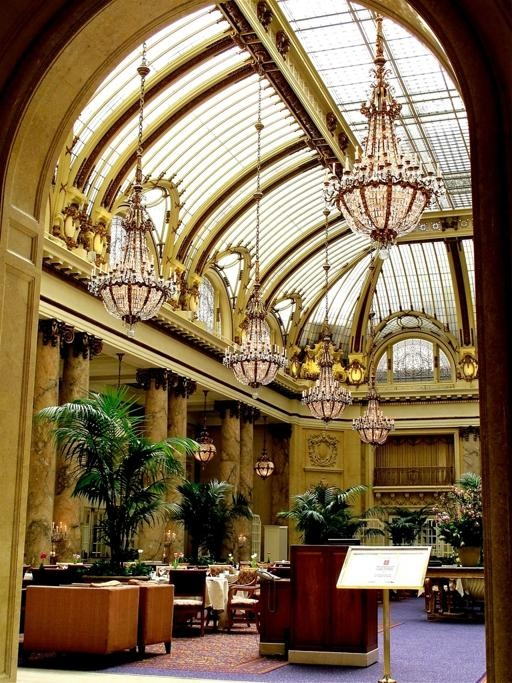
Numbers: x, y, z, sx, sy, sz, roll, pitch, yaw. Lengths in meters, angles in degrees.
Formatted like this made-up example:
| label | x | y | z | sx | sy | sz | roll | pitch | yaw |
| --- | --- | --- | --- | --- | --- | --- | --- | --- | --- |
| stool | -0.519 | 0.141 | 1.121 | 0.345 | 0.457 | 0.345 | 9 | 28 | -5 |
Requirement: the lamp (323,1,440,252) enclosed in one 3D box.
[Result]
| label | x | y | z | sx | sy | sz | roll | pitch | yaw |
| --- | --- | --- | --- | --- | --- | --- | --- | --- | --- |
| lamp | 1.311 | -2.252 | 7.828 | 1.216 | 3.047 | 0.622 | -4 | -16 | 14 |

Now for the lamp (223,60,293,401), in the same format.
| label | x | y | z | sx | sy | sz | roll | pitch | yaw |
| --- | --- | --- | --- | --- | --- | --- | --- | --- | --- |
| lamp | 0.045 | -1.970 | 12.470 | 0.980 | 5.428 | 1.207 | 3 | 2 | 38 |

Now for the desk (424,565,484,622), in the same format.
| label | x | y | z | sx | sy | sz | roll | pitch | yaw |
| --- | --- | --- | --- | --- | --- | --- | --- | --- | --- |
| desk | 3.419 | 4.381 | 12.833 | 0.988 | 0.868 | 3.669 | -4 | -17 | 13 |

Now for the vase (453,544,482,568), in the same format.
| label | x | y | z | sx | sy | sz | roll | pitch | yaw |
| --- | --- | --- | --- | --- | --- | --- | --- | --- | --- |
| vase | 3.410 | 3.456 | 11.813 | 0.374 | 0.320 | 0.610 | -4 | -17 | 14 |

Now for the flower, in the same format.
| label | x | y | z | sx | sy | sz | roll | pitch | yaw |
| --- | --- | --- | --- | --- | --- | --- | --- | --- | --- |
| flower | 3.377 | 2.805 | 12.354 | 0.757 | 1.326 | 1.823 | -4 | -17 | 14 |

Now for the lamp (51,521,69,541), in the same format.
| label | x | y | z | sx | sy | sz | roll | pitch | yaw |
| --- | --- | --- | --- | --- | --- | --- | --- | --- | --- |
| lamp | -3.206 | 3.178 | 12.280 | 0.264 | 0.340 | 0.283 | 1 | -33 | 0 |

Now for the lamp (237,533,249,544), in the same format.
| label | x | y | z | sx | sy | sz | roll | pitch | yaw |
| --- | --- | --- | --- | --- | --- | --- | --- | --- | --- |
| lamp | -0.352 | 5.237 | 19.511 | 0.245 | 0.302 | 0.260 | -2 | -27 | 3 |
